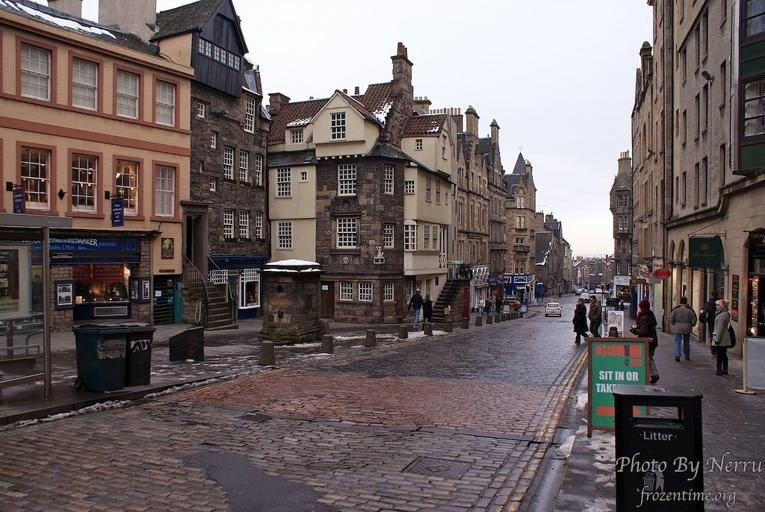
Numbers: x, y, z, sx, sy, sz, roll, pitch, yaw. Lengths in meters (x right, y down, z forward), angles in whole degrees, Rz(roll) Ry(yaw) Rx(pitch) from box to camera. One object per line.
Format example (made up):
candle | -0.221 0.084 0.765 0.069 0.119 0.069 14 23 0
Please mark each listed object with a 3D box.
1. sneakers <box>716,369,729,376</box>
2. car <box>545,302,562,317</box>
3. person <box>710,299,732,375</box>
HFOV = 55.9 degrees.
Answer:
sneakers | 10.702 3.697 22.748 0.143 0.198 0.483 0 5 10
car | 14.916 4.748 62.908 1.081 0.909 2.364 0 2 10
person | 10.756 2.647 22.913 0.579 2.295 0.938 3 10 25
